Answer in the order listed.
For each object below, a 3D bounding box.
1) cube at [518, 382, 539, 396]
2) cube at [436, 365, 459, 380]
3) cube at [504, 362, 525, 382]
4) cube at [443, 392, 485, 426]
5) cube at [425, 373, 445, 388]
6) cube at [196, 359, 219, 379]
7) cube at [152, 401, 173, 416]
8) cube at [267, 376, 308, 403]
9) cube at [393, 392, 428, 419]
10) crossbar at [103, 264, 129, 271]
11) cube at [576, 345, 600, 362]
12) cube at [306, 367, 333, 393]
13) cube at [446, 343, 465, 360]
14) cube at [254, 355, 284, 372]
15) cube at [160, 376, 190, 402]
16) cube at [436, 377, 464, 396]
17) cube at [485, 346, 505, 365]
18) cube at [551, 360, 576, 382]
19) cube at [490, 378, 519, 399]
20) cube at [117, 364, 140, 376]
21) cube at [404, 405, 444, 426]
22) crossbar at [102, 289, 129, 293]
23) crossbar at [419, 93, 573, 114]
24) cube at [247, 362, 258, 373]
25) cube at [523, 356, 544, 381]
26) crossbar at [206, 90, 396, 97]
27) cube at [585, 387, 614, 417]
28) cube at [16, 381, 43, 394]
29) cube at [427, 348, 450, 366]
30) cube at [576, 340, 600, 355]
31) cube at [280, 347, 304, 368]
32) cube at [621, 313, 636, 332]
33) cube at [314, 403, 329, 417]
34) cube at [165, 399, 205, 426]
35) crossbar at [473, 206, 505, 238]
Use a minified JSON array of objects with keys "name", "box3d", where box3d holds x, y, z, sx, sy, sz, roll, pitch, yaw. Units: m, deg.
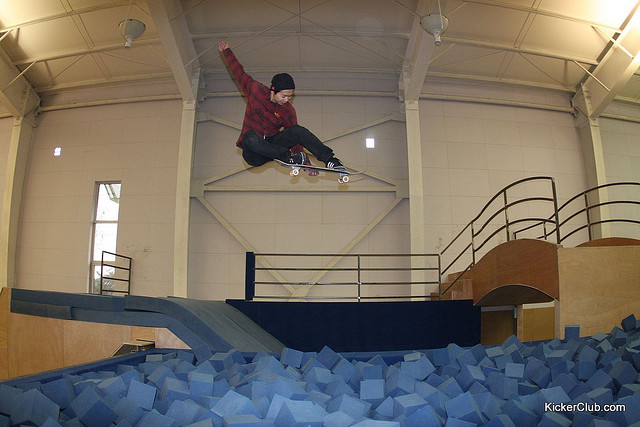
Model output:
[{"name":"cube","box3d":[2.202,1.859,5.437,0.142,0.106,0.142,1,-5,18]},{"name":"cube","box3d":[1.424,1.765,5.741,0.149,0.091,0.147,5,-10,3]},{"name":"cube","box3d":[2.149,1.734,5.648,0.184,0.184,0.175,9,-7,8]},{"name":"cube","box3d":[1.441,1.956,5.153,0.362,0.297,0.253,2,0,4]},{"name":"cube","box3d":[1.250,1.813,5.569,0.171,0.168,0.124,32,-57,-20]},{"name":"cube","box3d":[-1.244,1.702,5.677,0.164,0.157,0.293,-31,23,-13]},{"name":"cube","box3d":[-1.620,1.979,5.261,0.155,0.150,0.096,0,-6,14]},{"name":"cube","box3d":[-0.321,1.839,5.328,0.275,0.169,0.276,24,8,11]},{"name":"cube","box3d":[0.908,1.923,5.180,0.361,0.237,0.191,-9,29,-29]},{"name":"crossbar","box3d":[-4.989,1.314,12.615,0.921,0.122,0.103,9,-23,32]},{"name":"cube","box3d":[3.112,1.632,5.934,0.190,0.195,0.193,40,-16,1]},{"name":"cube","box3d":[0.014,1.783,5.555,0.226,0.228,0.113,32,-48,-24]},{"name":"cube","box3d":[1.613,1.653,6.190,0.135,0.062,0.149,-1,-4,-7]},{"name":"cube","box3d":[-0.560,1.667,5.700,0.317,0.152,0.244,1,-13,-7]},{"name":"cube","box3d":[-1.504,1.836,5.336,0.236,0.143,0.231,4,11,-18]},{"name":"cube","box3d":[1.379,1.836,5.425,0.171,0.109,0.170,0,2,-33]},{"name":"cube","box3d":[2.056,1.639,6.036,0.234,0.154,0.126,-15,28,-5]},{"name":"cube","box3d":[2.669,1.737,5.644,0.226,0.196,0.189,-7,-14,41]},{"name":"cube","box3d":[1.952,1.811,5.421,0.221,0.187,0.227,14,-9,-42]},{"name":"cube","box3d":[-2.185,1.740,5.762,0.129,0.079,0.128,1,-3,5]},{"name":"cube","box3d":[1.027,2.041,5.107,0.230,0.142,0.230,-25,-3,-18]},{"name":"crossbar","box3d":[-5.060,1.897,12.545,0.449,0.062,0.573,-11,-16,40]},{"name":"crossbar","box3d":[4.599,-2.900,13.382,4.079,0.347,0.157,1,-13,-7]},{"name":"cube","box3d":[-0.765,1.731,5.826,0.156,0.154,0.084,-1,-1,1]},{"name":"cube","box3d":[2.353,1.720,5.709,0.227,0.213,0.386,8,-11,-7]},{"name":"crossbar","box3d":[-0.365,-3.073,13.096,4.610,0.201,0.137,-1,-13,1]},{"name":"cube","box3d":[2.886,1.955,5.286,0.232,0.220,0.120,1,-6,1]},{"name":"cube","box3d":[-3.063,1.804,5.374,0.143,0.087,0.138,-2,-6,6]},{"name":"cube","box3d":[1.410,1.678,6.057,0.202,0.196,0.125,-2,35,0]},{"name":"cube","box3d":[3.308,1.618,6.297,0.164,0.074,0.162,-15,37,-30]},{"name":"cube","box3d":[-0.319,1.654,5.882,0.275,0.213,0.171,0,-13,-5]},{"name":"cube","box3d":[4.086,1.449,6.783,0.182,0.170,0.097,-23,-21,-4]},{"name":"cube","box3d":[0.020,1.975,5.179,0.099,0.063,0.103,38,-1,-16]},{"name":"cube","box3d":[-1.357,1.996,5.151,0.255,0.147,0.269,8,-15,34]},{"name":"crossbar","box3d":[3.918,0.180,11.939,0.152,1.022,0.148,52,-21,-16]}]
